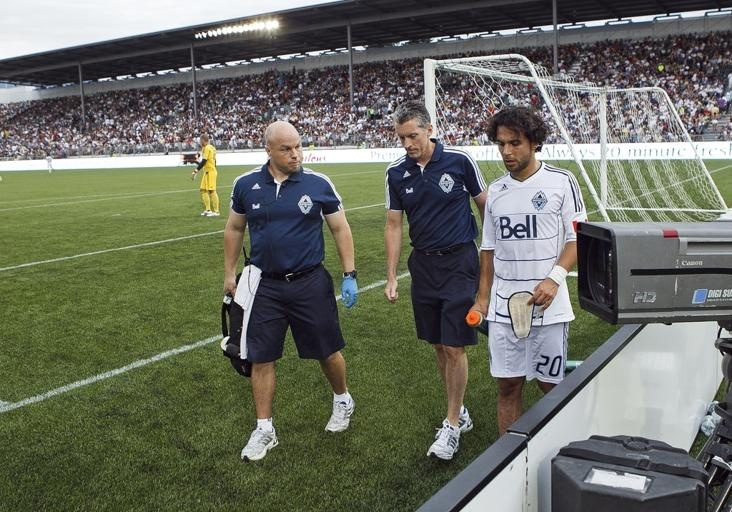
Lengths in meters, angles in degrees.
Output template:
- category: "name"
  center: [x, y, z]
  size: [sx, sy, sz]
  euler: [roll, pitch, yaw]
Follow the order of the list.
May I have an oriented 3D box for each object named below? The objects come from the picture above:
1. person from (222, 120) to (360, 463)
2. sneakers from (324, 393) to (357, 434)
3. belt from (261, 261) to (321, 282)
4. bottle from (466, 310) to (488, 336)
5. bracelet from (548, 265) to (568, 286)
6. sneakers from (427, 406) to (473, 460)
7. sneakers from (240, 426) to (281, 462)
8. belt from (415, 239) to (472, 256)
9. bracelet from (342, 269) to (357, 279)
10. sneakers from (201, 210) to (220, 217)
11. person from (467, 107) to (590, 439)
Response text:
- category: "person"
  center: [-0.446, 0.155, 3.369]
  size: [0.793, 1.871, 0.617]
  euler: [-4, 12, -16]
- category: "sneakers"
  center: [-0.157, 0.971, 3.456]
  size: [0.112, 0.130, 0.280]
  euler: [2, 25, 15]
- category: "belt"
  center: [-0.439, 0.099, 3.292]
  size: [0.349, 0.083, 0.077]
  euler: [-3, 12, -11]
- category: "bottle"
  center: [0.604, 0.362, 3.075]
  size: [0.082, 0.104, 0.329]
  euler: [-13, -12, 14]
- category: "bracelet"
  center: [0.945, 0.099, 2.814]
  size: [0.094, 0.111, 0.102]
  euler: [-2, -5, -21]
- category: "sneakers"
  center: [0.503, 1.027, 3.284]
  size: [0.129, 0.185, 0.413]
  euler: [-1, 4, 25]
- category: "sneakers"
  center: [-0.615, 1.073, 3.258]
  size: [0.117, 0.137, 0.293]
  euler: [4, 10, 26]
- category: "belt"
  center: [0.469, -0.050, 3.356]
  size: [0.373, 0.075, 0.133]
  euler: [0, 13, 4]
- category: "bracelet"
  center: [-0.112, 0.113, 3.495]
  size: [0.064, 0.041, 0.058]
  euler: [-1, 4, 10]
- category: "sneakers"
  center: [-3.352, -0.919, 12.001]
  size: [0.425, 0.201, 0.163]
  euler: [6, 11, 19]
- category: "person"
  center: [0.815, 0.227, 2.881]
  size: [0.617, 1.942, 0.622]
  euler: [0, 7, 21]
